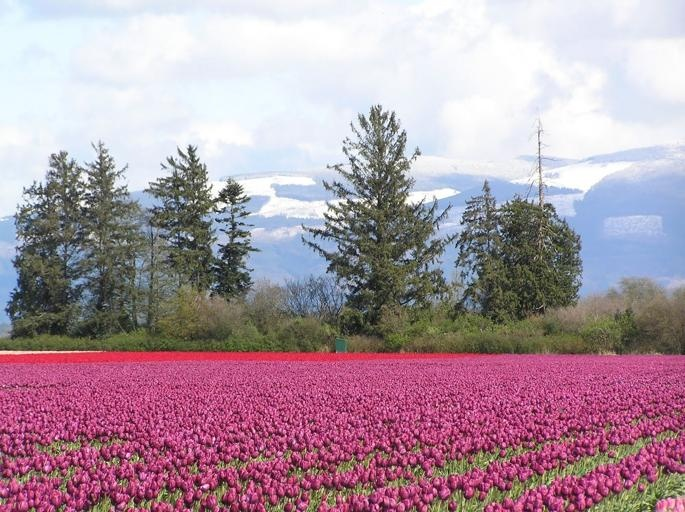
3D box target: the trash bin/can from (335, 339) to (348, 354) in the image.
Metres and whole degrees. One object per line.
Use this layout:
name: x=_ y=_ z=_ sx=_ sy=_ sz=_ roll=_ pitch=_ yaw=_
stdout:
trash bin/can: x=-0.017 y=3.116 z=35.205 sx=0.453 sy=0.534 sz=0.406 roll=0 pitch=-8 yaw=-6
